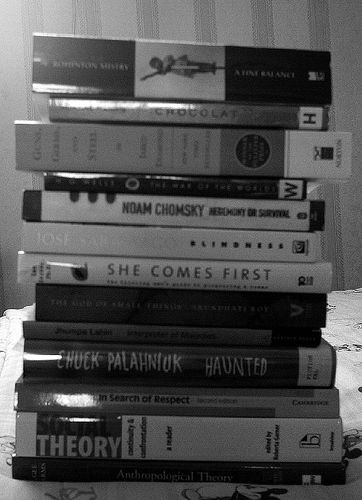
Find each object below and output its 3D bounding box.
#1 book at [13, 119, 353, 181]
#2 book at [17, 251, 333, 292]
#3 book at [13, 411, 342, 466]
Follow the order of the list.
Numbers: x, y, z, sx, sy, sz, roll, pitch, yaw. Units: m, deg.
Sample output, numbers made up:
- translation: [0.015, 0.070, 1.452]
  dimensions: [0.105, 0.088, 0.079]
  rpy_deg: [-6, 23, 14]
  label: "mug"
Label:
- translation: [0.003, -0.124, 1.004]
  dimensions: [0.411, 0.087, 0.019]
  rpy_deg: [-3, 5, -1]
  label: "book"
- translation: [-0.007, 0.027, 0.994]
  dimensions: [0.380, 0.064, 0.010]
  rpy_deg: [-3, 5, -1]
  label: "book"
- translation: [-0.003, 0.227, 0.974]
  dimensions: [0.389, 0.081, 0.015]
  rpy_deg: [-3, 5, 0]
  label: "book"
